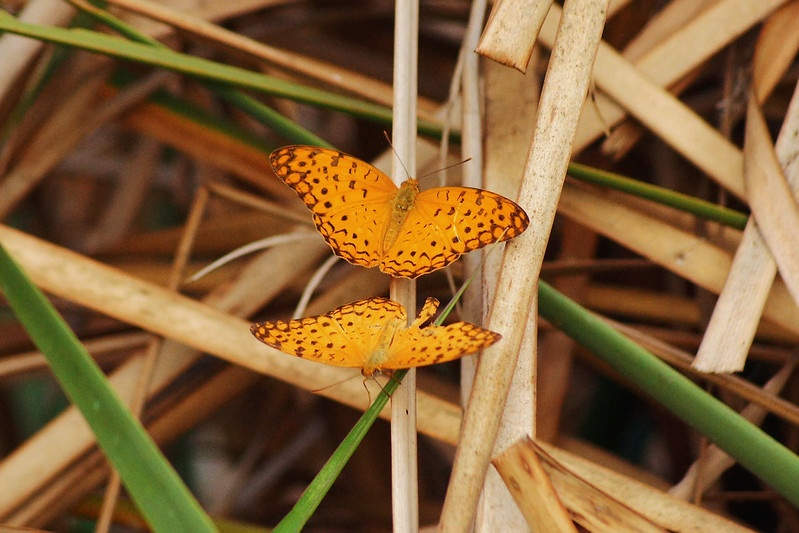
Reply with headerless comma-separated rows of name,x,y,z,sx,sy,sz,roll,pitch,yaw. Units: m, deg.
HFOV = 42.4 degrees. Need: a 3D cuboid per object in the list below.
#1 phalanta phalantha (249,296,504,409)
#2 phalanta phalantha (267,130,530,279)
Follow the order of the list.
phalanta phalantha,-0.018,0.091,1.221,0.289,0.084,0.168,0,36,15
phalanta phalantha,0.008,-0.075,1.285,0.366,0.174,0.043,21,1,9
